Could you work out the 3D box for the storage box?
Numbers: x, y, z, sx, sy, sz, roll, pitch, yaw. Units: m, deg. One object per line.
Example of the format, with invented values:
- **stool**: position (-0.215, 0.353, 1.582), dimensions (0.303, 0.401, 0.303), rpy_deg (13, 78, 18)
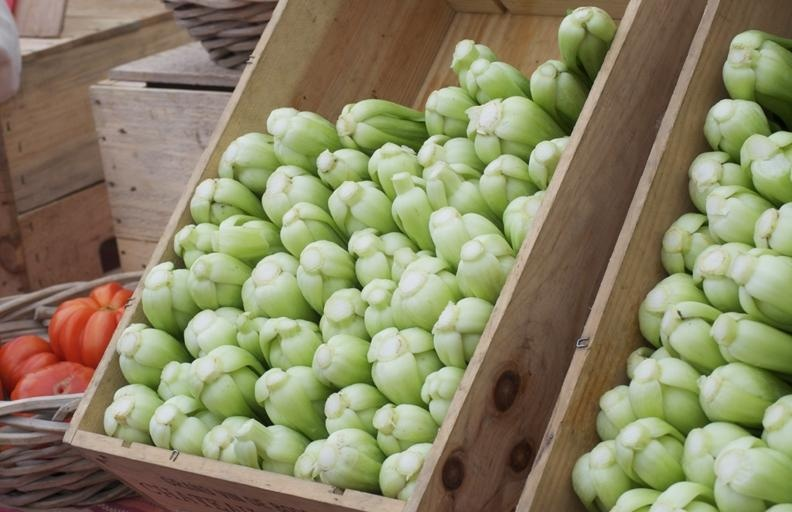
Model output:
- **storage box**: position (0.013, 0.157, 1.912), dimensions (1.324, 1.366, 0.475), rpy_deg (4, -33, 30)
